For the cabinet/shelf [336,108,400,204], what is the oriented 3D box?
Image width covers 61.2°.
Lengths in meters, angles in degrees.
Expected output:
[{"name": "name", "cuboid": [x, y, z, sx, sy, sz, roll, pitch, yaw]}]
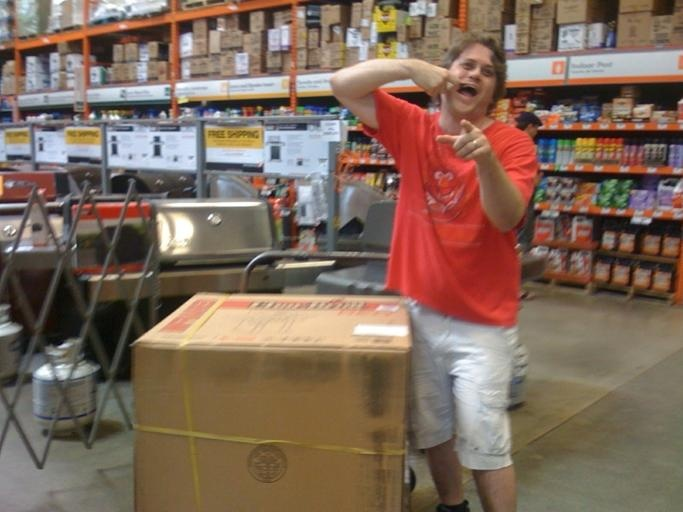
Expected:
[{"name": "cabinet/shelf", "cuboid": [0.334, -1.060, 6.818, 0.784, 0.700, 0.253, 8, 12, 32]}]

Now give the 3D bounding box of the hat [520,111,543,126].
[{"name": "hat", "cuboid": [1.521, -1.099, 4.669, 0.187, 0.089, 0.128, -17, 25, -37]}]

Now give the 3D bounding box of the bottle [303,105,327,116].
[{"name": "bottle", "cuboid": [-0.313, -1.655, 6.569, 0.279, 0.090, 0.629, 4, 14, 6]}]

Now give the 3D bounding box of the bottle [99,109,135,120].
[{"name": "bottle", "cuboid": [-3.422, -2.185, 8.872, 0.441, 0.116, 1.048, -4, 15, -26]}]
